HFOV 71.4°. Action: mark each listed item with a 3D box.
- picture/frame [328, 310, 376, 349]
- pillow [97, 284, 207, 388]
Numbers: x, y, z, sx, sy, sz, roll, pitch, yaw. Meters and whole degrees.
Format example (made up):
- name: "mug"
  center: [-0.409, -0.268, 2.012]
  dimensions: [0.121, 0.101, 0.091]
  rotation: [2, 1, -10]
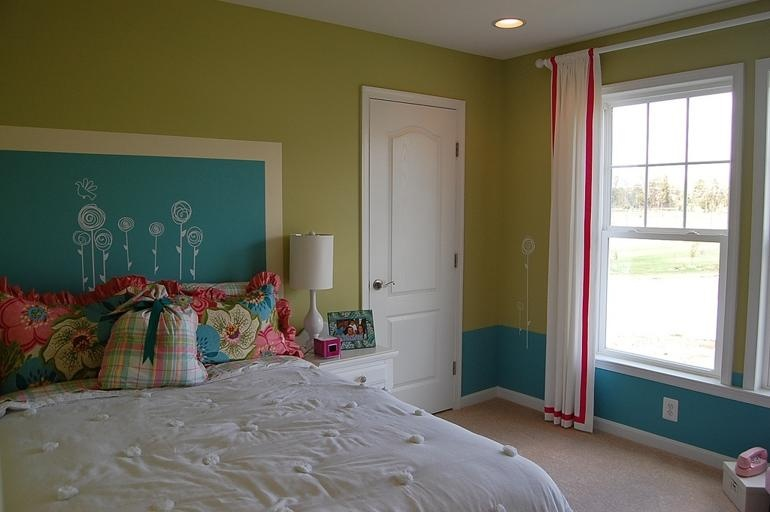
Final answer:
- name: "picture/frame"
  center: [-0.261, 0.573, 4.167]
  dimensions: [0.285, 0.243, 0.021]
  rotation: [1, -12, -28]
- name: "pillow"
  center: [-1.400, 0.498, 3.208]
  dimensions: [0.527, 0.550, 0.259]
  rotation: [-1, -18, -16]
